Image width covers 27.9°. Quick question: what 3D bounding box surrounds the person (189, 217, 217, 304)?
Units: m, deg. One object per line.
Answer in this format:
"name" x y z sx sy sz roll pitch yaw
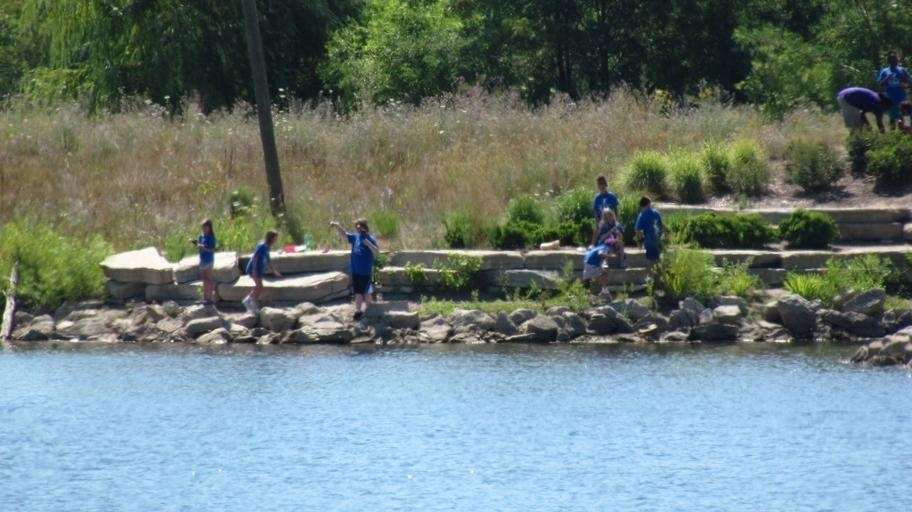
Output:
"person" -8.956 0.240 64.576 0.699 2.924 0.793 -4 4 -9

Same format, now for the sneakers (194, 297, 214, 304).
"sneakers" -9.027 1.620 64.651 0.631 0.294 0.241 6 4 14

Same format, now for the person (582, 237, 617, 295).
"person" 4.911 0.425 64.371 1.136 1.772 0.652 1 -6 -18

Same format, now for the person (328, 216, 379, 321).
"person" -3.476 0.474 63.995 1.258 3.380 1.125 -4 4 -12
